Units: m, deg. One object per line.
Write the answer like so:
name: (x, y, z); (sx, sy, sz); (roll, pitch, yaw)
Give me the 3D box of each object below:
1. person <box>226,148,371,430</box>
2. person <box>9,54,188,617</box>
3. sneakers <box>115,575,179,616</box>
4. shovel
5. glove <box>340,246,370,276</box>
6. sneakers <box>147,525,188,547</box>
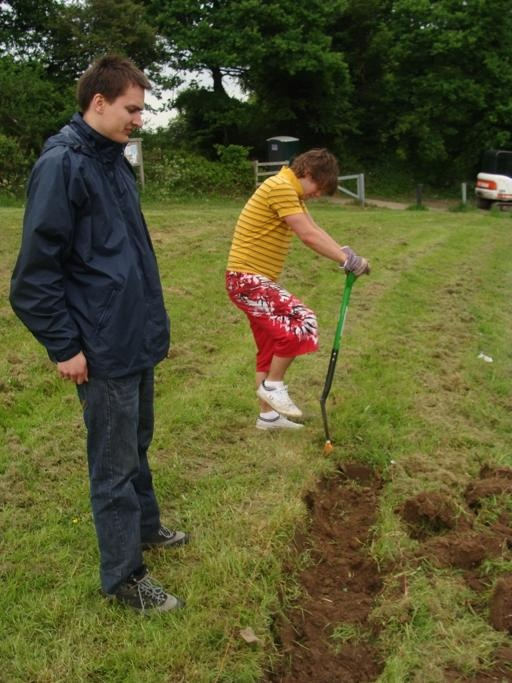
person: (0.238, -0.305, 4.826); (0.878, 1.993, 0.505); (3, 14, -4)
person: (-0.670, -0.011, 3.071); (0.679, 2.380, 0.577); (2, 14, -7)
sneakers: (-0.488, 1.148, 3.143); (0.344, 0.124, 0.123); (7, 12, 2)
shovel: (0.617, 0.070, 5.303); (0.175, 0.152, 1.819); (9, 55, 6)
glove: (0.699, -0.537, 4.924); (0.238, 0.108, 0.175); (34, 38, -31)
sneakers: (-0.452, 1.023, 3.664); (0.250, 0.089, 0.085); (-2, 5, -14)
